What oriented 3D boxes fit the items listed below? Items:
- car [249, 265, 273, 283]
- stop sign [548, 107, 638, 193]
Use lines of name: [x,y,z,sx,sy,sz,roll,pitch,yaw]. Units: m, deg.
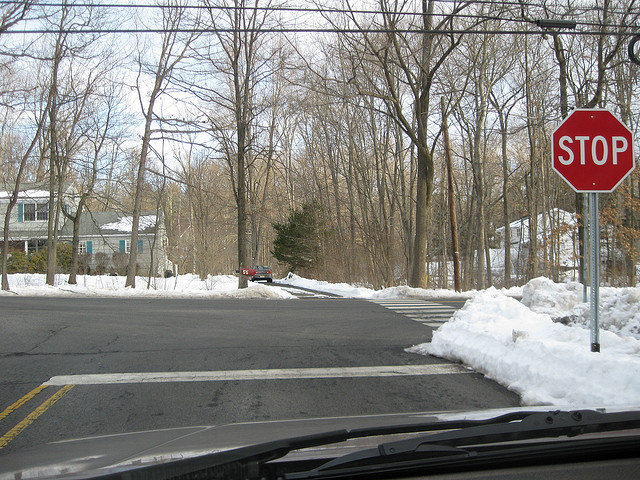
car: [-4.398,2.606,52.498,1.341,1.171,3.226,0,2,-6]
stop sign: [4.754,-1.562,12.337,1.427,1.495,0.301,-1,-3,1]
